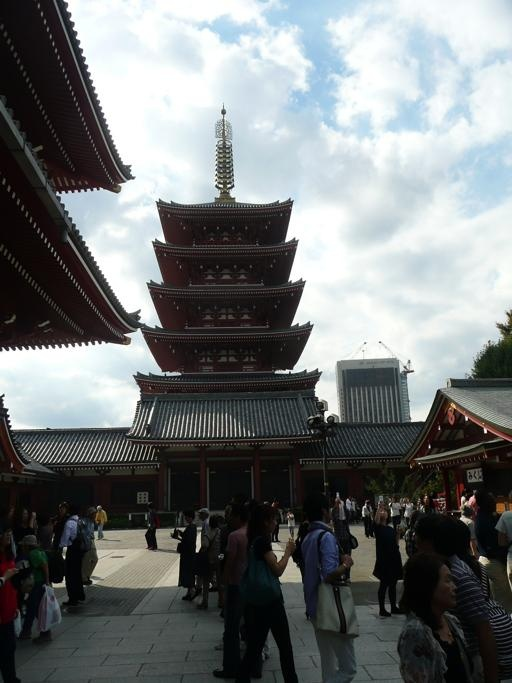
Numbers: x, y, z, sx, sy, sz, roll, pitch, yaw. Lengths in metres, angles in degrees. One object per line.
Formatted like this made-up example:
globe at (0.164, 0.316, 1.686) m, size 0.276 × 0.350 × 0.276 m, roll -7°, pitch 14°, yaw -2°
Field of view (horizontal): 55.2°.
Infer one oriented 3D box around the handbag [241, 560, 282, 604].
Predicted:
handbag at (0.056, 2.044, 4.143) m, size 0.345 × 0.465 × 0.253 m, roll -10°, pitch -27°, yaw 0°

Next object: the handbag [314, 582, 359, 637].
handbag at (0.632, 2.078, 3.807) m, size 0.315 × 0.402 × 0.187 m, roll -1°, pitch -15°, yaw 6°

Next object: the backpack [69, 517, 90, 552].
backpack at (-3.372, 3.674, 9.260) m, size 0.371 × 0.668 × 0.468 m, roll -12°, pitch -25°, yaw 5°

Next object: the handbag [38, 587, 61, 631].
handbag at (-2.714, 3.508, 6.410) m, size 0.262 × 0.537 × 0.235 m, roll 7°, pitch -16°, yaw -21°
